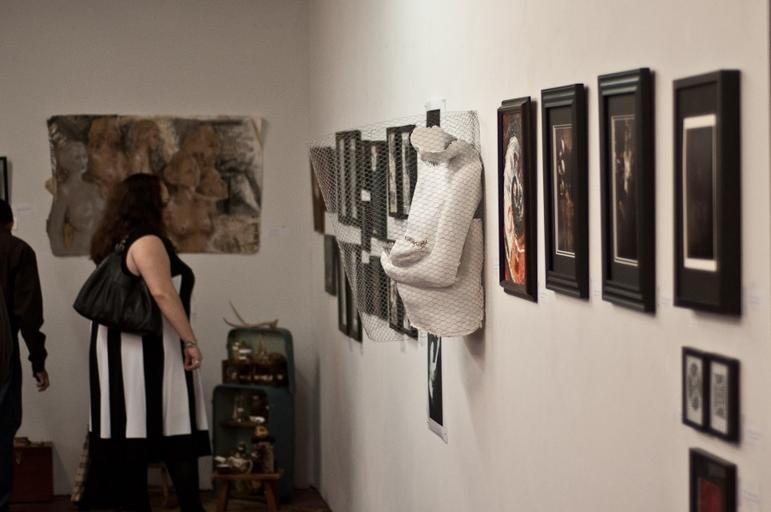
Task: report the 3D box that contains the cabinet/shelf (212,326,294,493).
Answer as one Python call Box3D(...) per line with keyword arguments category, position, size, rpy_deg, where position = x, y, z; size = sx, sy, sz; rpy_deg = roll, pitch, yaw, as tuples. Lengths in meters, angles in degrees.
Box3D(category="cabinet/shelf", position=(-0.901, 1.081, 5.251), size=(0.470, 1.189, 0.294), rpy_deg=(0, -5, 22))

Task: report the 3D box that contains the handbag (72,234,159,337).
Box3D(category="handbag", position=(-1.293, 0.104, 3.871), size=(0.485, 0.283, 0.594), rpy_deg=(10, -49, -17))

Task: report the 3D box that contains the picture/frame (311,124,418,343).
Box3D(category="picture/frame", position=(-0.069, -0.095, 3.435), size=(0.504, 0.993, 0.299), rpy_deg=(-2, 0, 41))

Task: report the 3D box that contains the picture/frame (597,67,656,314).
Box3D(category="picture/frame", position=(0.647, -0.172, 2.032), size=(0.058, 0.665, 0.192), rpy_deg=(-2, 0, -19))

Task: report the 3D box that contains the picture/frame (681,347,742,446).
Box3D(category="picture/frame", position=(0.788, 0.340, 1.834), size=(0.031, 0.232, 0.147), rpy_deg=(-2, 0, -31))

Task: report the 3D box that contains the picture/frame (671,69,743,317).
Box3D(category="picture/frame", position=(0.770, -0.144, 1.816), size=(0.050, 0.593, 0.177), rpy_deg=(-2, 0, -29))

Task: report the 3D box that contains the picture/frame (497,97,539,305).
Box3D(category="picture/frame", position=(0.443, -0.191, 2.542), size=(0.063, 0.690, 0.241), rpy_deg=(-2, 0, -10))
